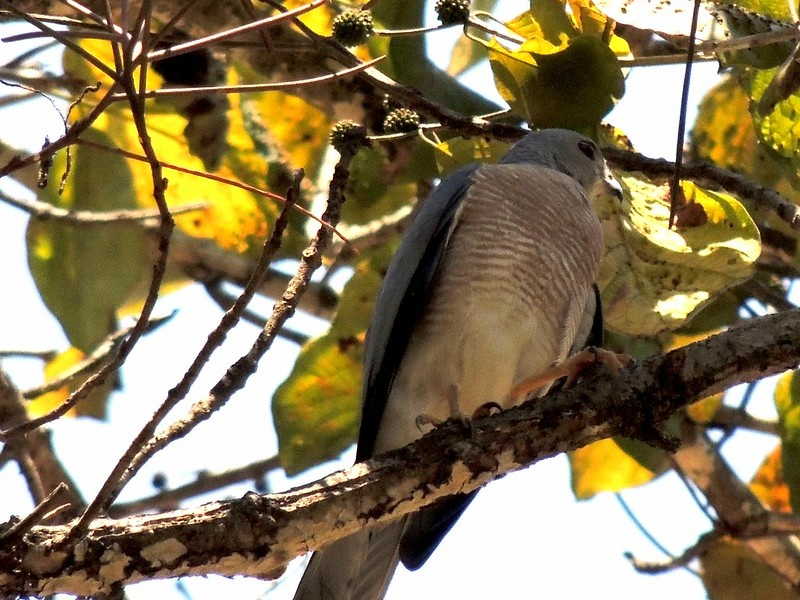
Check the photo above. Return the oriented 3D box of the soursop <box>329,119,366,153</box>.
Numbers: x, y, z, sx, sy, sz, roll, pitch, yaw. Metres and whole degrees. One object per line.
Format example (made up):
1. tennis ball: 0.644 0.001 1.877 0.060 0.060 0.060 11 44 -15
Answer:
1. soursop: -0.198 -0.594 5.172 0.153 0.147 0.109 -2 -30 2

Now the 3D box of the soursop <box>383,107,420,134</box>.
1. soursop: 0.008 -0.713 5.653 0.123 0.120 0.070 1 -89 -3

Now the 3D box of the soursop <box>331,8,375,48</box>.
1. soursop: -0.182 -1.039 5.439 0.144 0.100 0.144 41 -89 10
